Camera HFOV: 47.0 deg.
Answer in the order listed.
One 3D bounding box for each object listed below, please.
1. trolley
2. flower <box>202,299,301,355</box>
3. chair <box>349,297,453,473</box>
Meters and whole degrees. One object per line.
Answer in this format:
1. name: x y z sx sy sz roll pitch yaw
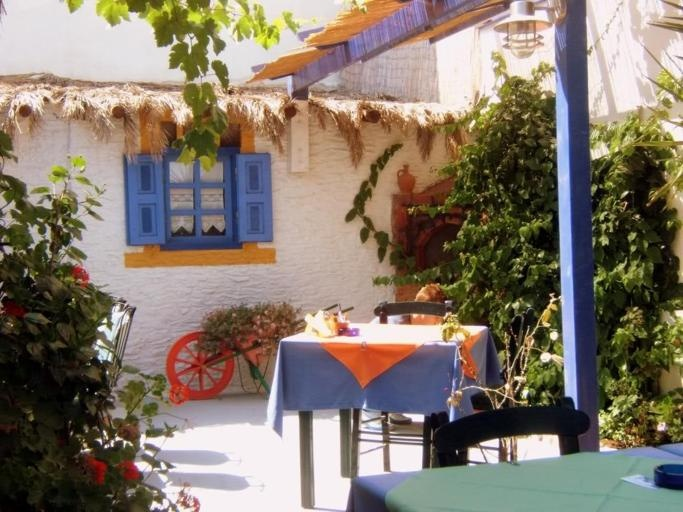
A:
1. trolley: -0.918 1.049 8.566 1.940 1.062 0.566 -3 12 -15
2. flower: -1.013 0.853 8.881 1.166 0.591 1.352 -4 -17 4
3. chair: 0.323 1.159 5.673 0.590 0.973 0.616 11 -23 -11
